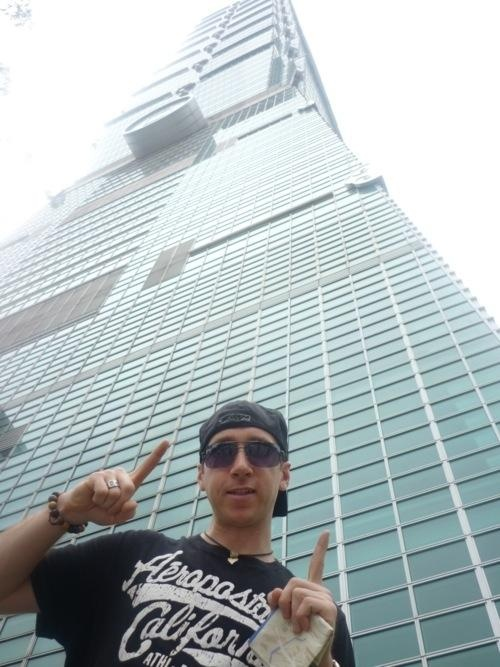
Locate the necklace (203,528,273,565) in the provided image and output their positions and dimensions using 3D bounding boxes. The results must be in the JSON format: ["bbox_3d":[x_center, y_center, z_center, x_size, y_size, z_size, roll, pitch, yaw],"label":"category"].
[{"bbox_3d":[-0.075,1.653,4.354,0.317,0.095,0.359,13,-68,3],"label":"necklace"}]

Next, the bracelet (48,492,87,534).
[{"bbox_3d":[-1.160,1.139,3.654,0.300,0.103,0.240,24,-35,31],"label":"bracelet"}]
